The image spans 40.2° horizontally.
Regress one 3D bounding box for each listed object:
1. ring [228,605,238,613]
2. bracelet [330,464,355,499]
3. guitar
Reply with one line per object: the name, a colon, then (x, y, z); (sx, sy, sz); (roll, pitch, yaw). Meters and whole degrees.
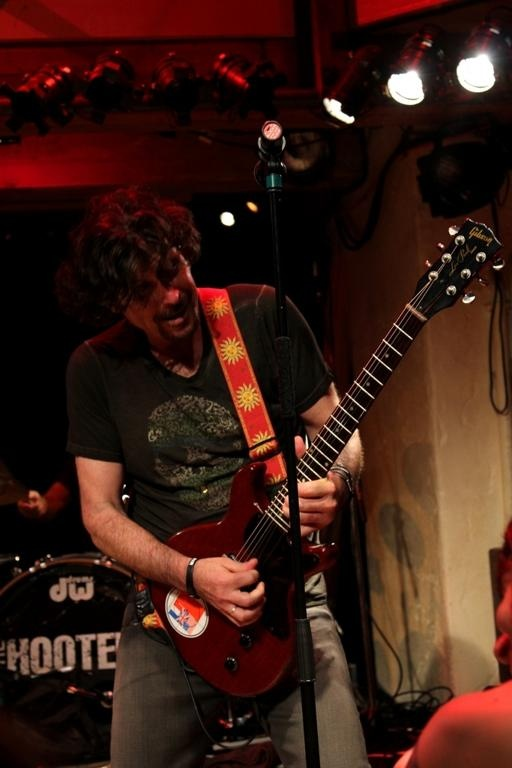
ring: (-0.055, 0.531, 1.650); (0.018, 0.016, 0.008); (2, 16, 10)
bracelet: (0.223, 0.245, 1.765); (0.028, 0.077, 0.059); (-14, -23, -22)
guitar: (0.281, 0.297, 1.778); (0.191, 1.511, 0.556); (8, 38, -43)
